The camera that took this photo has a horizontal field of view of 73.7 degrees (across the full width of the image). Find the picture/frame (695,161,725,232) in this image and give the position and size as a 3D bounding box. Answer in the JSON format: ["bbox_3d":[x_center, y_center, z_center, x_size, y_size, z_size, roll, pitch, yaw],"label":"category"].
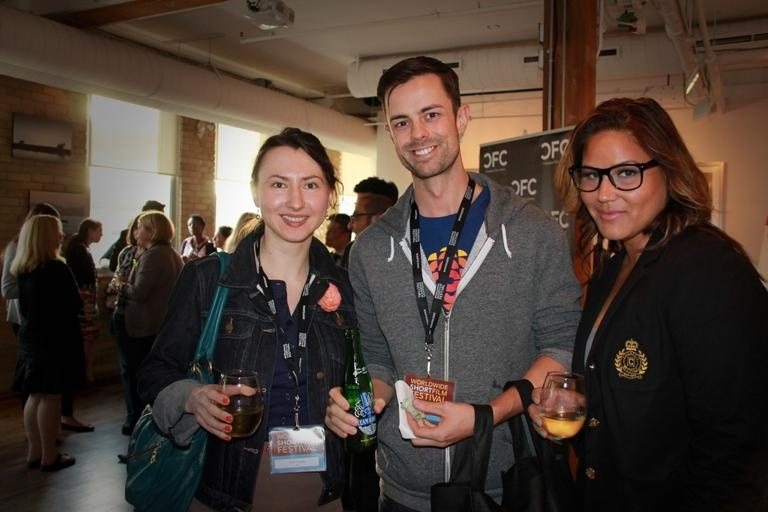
[{"bbox_3d":[5.108,-1.038,7.952,0.448,0.775,0.094,-7,7,-5],"label":"picture/frame"}]

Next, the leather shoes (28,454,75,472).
[{"bbox_3d":[-3.021,1.879,4.674,0.286,0.084,0.155,1,1,-27],"label":"leather shoes"}]

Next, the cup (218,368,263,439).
[{"bbox_3d":[-0.584,0.619,2.067,0.197,0.311,0.146,4,6,44],"label":"cup"}]

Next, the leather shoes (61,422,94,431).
[{"bbox_3d":[-3.243,1.815,5.450,0.341,0.085,0.119,0,-3,-6],"label":"leather shoes"}]

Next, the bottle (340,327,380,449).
[{"bbox_3d":[-0.108,0.551,2.145,0.140,0.494,0.218,-1,5,-5],"label":"bottle"}]
